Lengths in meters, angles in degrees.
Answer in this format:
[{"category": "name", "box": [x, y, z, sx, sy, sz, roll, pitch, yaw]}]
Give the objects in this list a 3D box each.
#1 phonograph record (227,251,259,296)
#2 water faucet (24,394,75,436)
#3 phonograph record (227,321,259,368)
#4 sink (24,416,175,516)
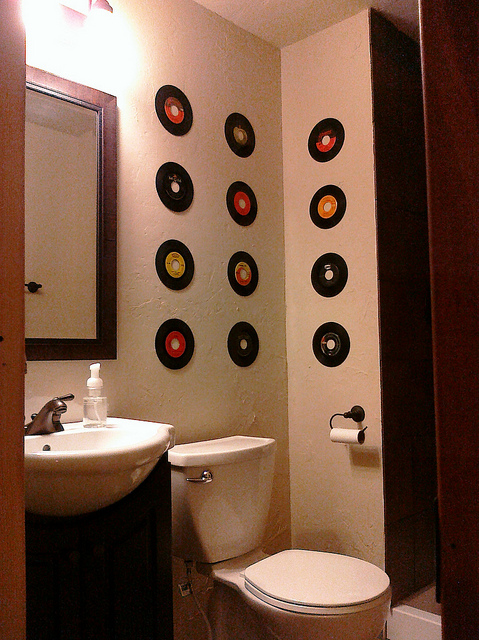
[{"category": "phonograph record", "box": [0.015, -0.165, 2.075, 0.141, 0.152, 0.144, -4, -7, 38]}, {"category": "water faucet", "box": [-0.443, 0.217, 1.280, 0.146, 0.072, 0.048, -17, 3, 27]}, {"category": "phonograph record", "box": [0.013, 0.086, 2.042, 0.030, 0.162, 0.177, -6, -7, 30]}, {"category": "sink", "box": [-0.296, 0.295, 1.164, 0.301, 0.152, 0.474, -3, -7, -3]}]
